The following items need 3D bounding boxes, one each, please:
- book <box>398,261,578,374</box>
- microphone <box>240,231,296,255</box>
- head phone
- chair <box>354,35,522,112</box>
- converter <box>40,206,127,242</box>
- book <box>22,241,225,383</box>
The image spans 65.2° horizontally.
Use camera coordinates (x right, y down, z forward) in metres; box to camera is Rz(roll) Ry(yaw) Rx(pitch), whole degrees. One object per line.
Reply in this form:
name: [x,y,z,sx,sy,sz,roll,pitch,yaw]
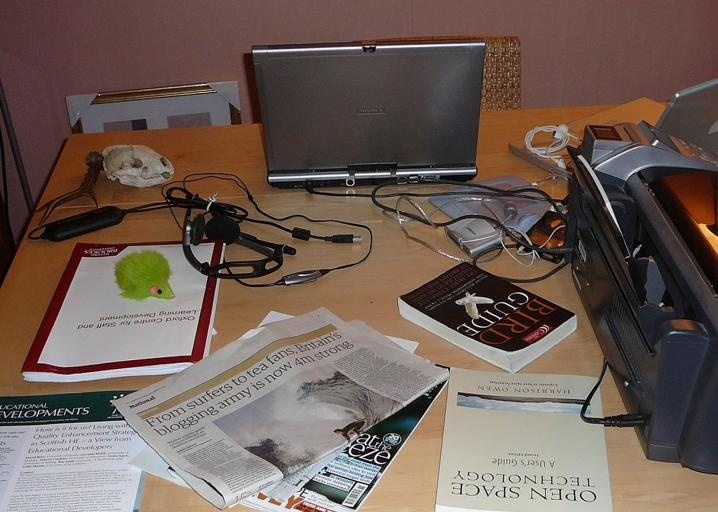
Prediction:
book: [0.246,0.109,1.088,0.181,0.051,0.252,-26,39,-36]
microphone: [-0.206,-0.025,1.266,0.085,0.024,0.062,9,21,-12]
head phone: [-0.280,-0.027,1.233,0.245,0.084,0.182,28,27,35]
chair: [0.207,-0.471,1.443,0.333,0.229,0.239,-3,33,0]
converter: [-0.668,-0.079,1.364,0.234,0.055,0.075,-21,14,-21]
book: [-0.457,0.090,1.149,0.337,0.032,0.384,-1,42,-6]
